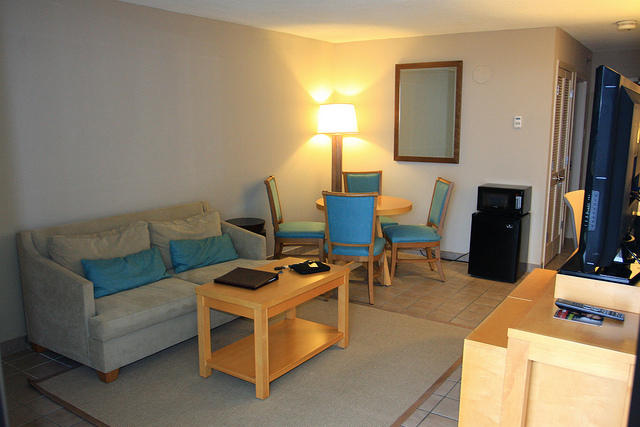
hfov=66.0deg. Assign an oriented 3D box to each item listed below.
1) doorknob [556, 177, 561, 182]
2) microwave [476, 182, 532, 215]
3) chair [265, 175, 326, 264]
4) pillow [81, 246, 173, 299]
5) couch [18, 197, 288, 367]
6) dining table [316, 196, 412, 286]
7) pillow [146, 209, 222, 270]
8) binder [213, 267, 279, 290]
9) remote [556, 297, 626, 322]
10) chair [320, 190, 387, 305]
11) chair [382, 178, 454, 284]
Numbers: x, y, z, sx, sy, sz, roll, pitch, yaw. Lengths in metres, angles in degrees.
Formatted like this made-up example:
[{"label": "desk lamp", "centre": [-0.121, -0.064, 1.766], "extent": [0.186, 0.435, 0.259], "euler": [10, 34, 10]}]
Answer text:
[{"label": "doorknob", "centre": [3.087, -0.455, 6.366], "extent": [0.017, 0.049, 0.051], "euler": [12, 21, 2]}, {"label": "microwave", "centre": [2.262, -0.188, 6.037], "extent": [0.560, 0.326, 0.485], "euler": [7, 12, 31]}, {"label": "chair", "centre": [-0.268, 0.101, 5.938], "extent": [0.740, 0.955, 0.574], "euler": [2, 13, 5]}, {"label": "pillow", "centre": [-1.722, 0.516, 4.398], "extent": [0.895, 0.300, 0.338], "euler": [-8, 44, -49]}, {"label": "couch", "centre": [-1.476, 0.587, 4.829], "extent": [1.216, 0.944, 2.147], "euler": [9, 13, 35]}, {"label": "dining table", "centre": [0.582, 0.330, 5.814], "extent": [1.183, 0.913, 1.003], "euler": [-4, 15, -12]}, {"label": "pillow", "centre": [-1.356, 0.176, 4.970], "extent": [0.608, 0.201, 0.553], "euler": [-11, 57, -31]}, {"label": "binder", "centre": [-0.599, 0.527, 4.070], "extent": [0.435, 0.075, 0.325], "euler": [6, 11, 27]}, {"label": "remote", "centre": [1.531, 0.542, 2.782], "extent": [0.381, 0.036, 0.119], "euler": [3, 9, 28]}, {"label": "chair", "centre": [0.384, 0.324, 5.430], "extent": [0.657, 1.223, 0.616], "euler": [2, 12, 8]}, {"label": "chair", "centre": [1.151, 0.196, 6.015], "extent": [0.940, 1.123, 0.781], "euler": [1, 16, 17]}]
